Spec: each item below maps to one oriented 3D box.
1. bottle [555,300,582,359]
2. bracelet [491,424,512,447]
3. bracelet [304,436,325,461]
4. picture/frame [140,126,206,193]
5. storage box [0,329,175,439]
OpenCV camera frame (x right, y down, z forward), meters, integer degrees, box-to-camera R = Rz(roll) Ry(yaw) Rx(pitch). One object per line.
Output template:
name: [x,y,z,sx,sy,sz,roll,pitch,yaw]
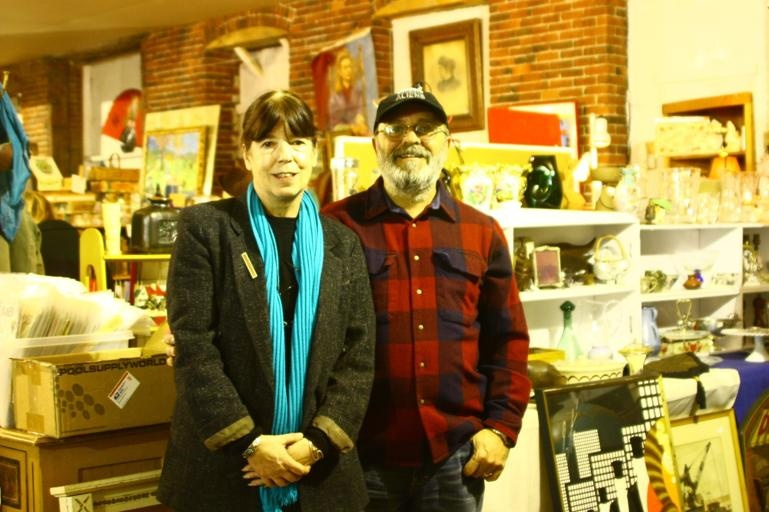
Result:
bottle: [1.223,0.482,4.245,0.147,0.366,0.601,-2,-4,15]
bracelet: [0.507,0.774,2.727,0.022,0.079,0.080,-42,1,-7]
bracelet: [-0.254,0.712,2.405,0.033,0.083,0.062,-35,4,-6]
picture/frame: [-2.783,-1.260,8.543,0.954,0.964,0.080,2,-2,19]
storage box: [-1.492,0.495,3.183,0.677,0.329,0.477,0,2,-43]
